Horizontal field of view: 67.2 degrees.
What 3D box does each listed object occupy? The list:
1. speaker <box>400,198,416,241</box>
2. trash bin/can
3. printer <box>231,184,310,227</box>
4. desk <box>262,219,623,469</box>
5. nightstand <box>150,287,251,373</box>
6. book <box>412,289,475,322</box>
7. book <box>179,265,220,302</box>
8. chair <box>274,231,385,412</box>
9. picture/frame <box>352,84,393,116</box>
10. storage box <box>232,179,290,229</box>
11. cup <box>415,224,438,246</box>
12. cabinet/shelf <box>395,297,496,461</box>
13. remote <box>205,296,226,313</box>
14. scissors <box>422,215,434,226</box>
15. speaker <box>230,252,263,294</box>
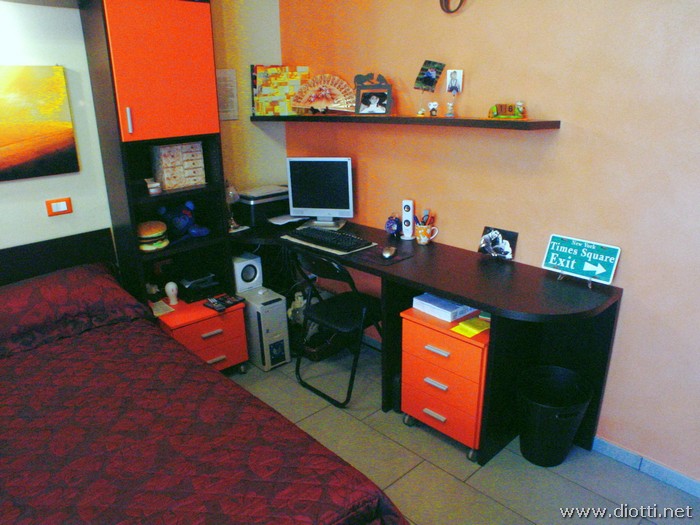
[{"bbox_3d":[0.382,-0.286,3.486,0.092,0.255,0.109,-13,19,-37],"label":"speaker"},{"bbox_3d":[1.108,0.875,2.965,0.348,0.421,0.349,3,18,-9],"label":"trash bin/can"},{"bbox_3d":[-0.628,-0.448,3.973,0.546,0.277,0.393,-10,23,-36],"label":"printer"},{"bbox_3d":[0.490,0.472,3.414,0.693,0.970,2.004,-12,19,-40],"label":"desk"},{"bbox_3d":[-1.018,0.527,3.683,0.509,0.453,0.370,-20,21,-38],"label":"nightstand"},{"bbox_3d":[0.534,0.187,3.095,0.387,0.148,0.390,7,19,15],"label":"book"},{"bbox_3d":[-1.068,0.154,3.765,0.241,0.148,0.247,-12,26,-26],"label":"book"},{"bbox_3d":[-0.120,0.419,3.531,0.643,1.149,0.712,18,39,32],"label":"chair"},{"bbox_3d":[0.154,-1.042,3.379,0.231,0.168,0.024,12,15,25],"label":"picture/frame"},{"bbox_3d":[-0.691,-0.436,4.018,0.312,0.184,0.414,5,15,31],"label":"storage box"},{"bbox_3d":[0.490,-0.183,3.406,0.157,0.145,0.097,4,16,8],"label":"cup"},{"bbox_3d":[0.675,0.660,3.140,0.549,0.742,0.606,-13,21,-33],"label":"cabinet/shelf"},{"bbox_3d":[-0.903,0.271,3.592,0.107,0.026,0.113,26,31,27],"label":"remote"},{"bbox_3d":[0.513,-0.279,3.443,0.058,0.078,0.019,-3,1,-11],"label":"scissors"},{"bbox_3d":[-0.735,0.072,3.820,0.250,0.255,0.249,13,22,39],"label":"speaker"}]
